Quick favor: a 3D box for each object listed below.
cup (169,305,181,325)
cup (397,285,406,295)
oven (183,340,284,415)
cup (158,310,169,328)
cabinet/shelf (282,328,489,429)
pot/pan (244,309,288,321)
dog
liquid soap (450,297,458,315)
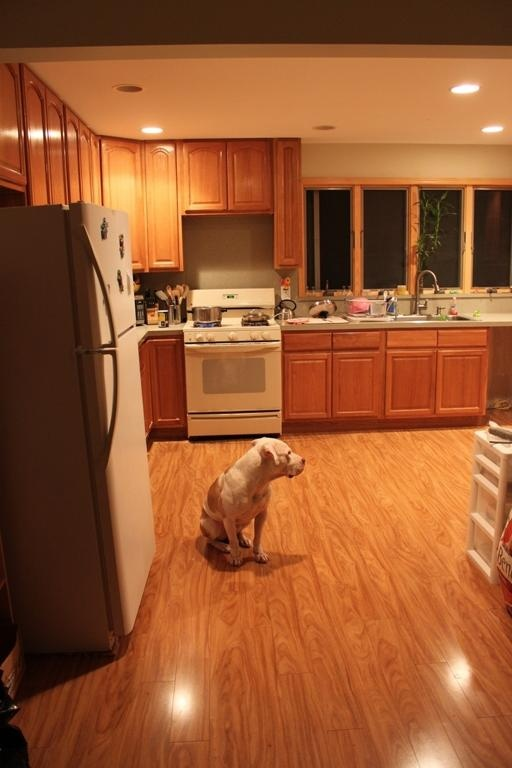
[{"bbox_3d":[-0.699,-0.600,4.334,0.094,0.174,0.110,-3,7,-13],"label":"cup"},{"bbox_3d":[1.359,-0.876,4.664,0.070,0.082,0.075,-2,10,0],"label":"cup"},{"bbox_3d":[-0.182,-0.089,4.274,0.814,0.849,0.623,-3,9,-7],"label":"oven"},{"bbox_3d":[-0.783,-0.554,4.269,0.096,0.148,0.306,-3,7,-11],"label":"cup"},{"bbox_3d":[1.083,-0.095,4.195,1.731,0.787,0.332,-4,7,-11],"label":"cabinet/shelf"},{"bbox_3d":[0.091,-0.556,4.177,0.322,0.126,0.182,-4,8,-26],"label":"pot/pan"},{"bbox_3d":[-0.045,0.477,2.193,0.449,0.642,0.271,16,24,33],"label":"dog"},{"bbox_3d":[1.851,-0.727,4.694,0.071,0.174,0.180,1,7,23],"label":"liquid soap"}]
